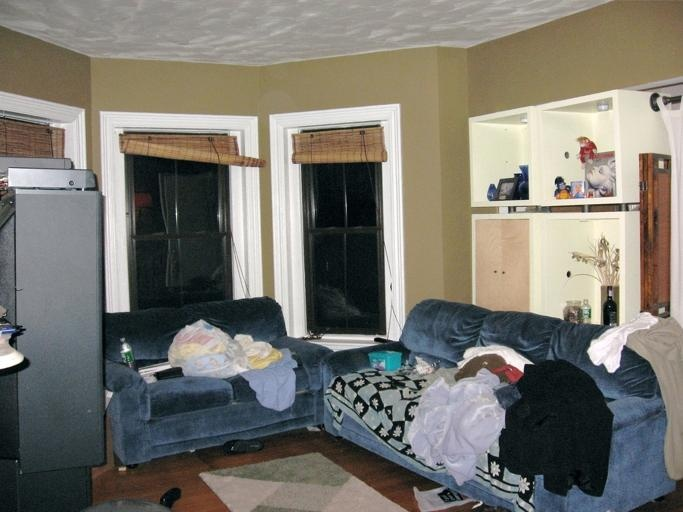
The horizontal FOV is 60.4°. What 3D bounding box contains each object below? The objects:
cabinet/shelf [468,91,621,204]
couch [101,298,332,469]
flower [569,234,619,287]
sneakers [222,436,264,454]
[{"bbox_3d":[1.572,-0.842,4.493,1.167,0.677,0.390,-2,-1,45],"label":"cabinet/shelf"},{"bbox_3d":[-0.946,0.857,4.340,1.559,0.913,0.882,-5,6,-26],"label":"couch"},{"bbox_3d":[1.923,0.033,4.313,0.311,0.358,0.450,-4,5,-14],"label":"flower"},{"bbox_3d":[-0.677,1.285,3.999,0.246,0.061,0.097,0,8,-12],"label":"sneakers"}]
